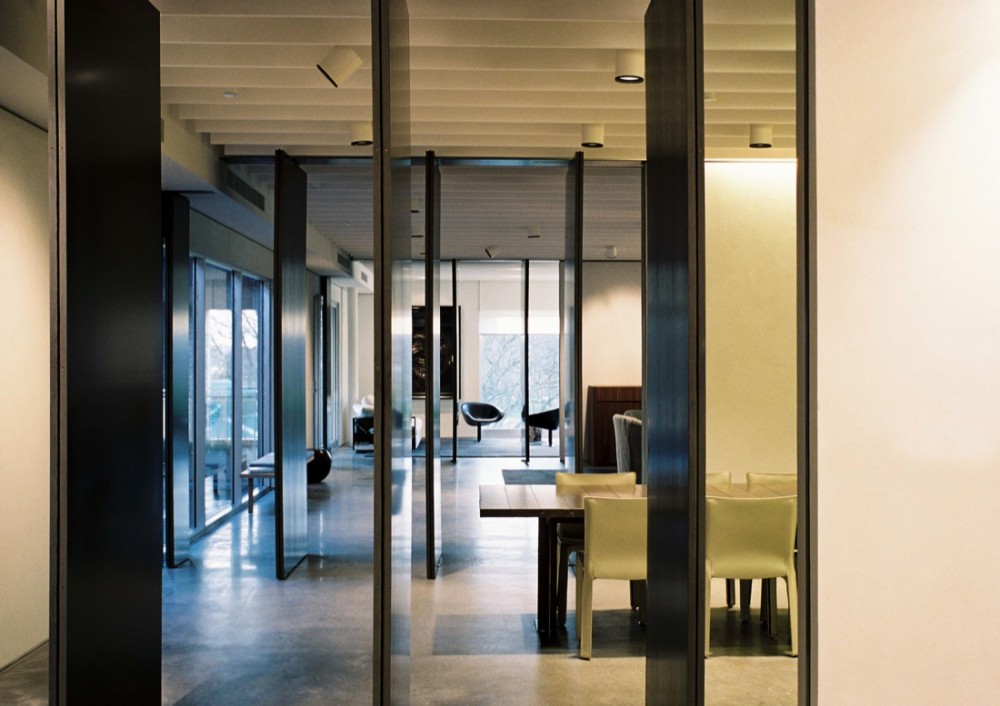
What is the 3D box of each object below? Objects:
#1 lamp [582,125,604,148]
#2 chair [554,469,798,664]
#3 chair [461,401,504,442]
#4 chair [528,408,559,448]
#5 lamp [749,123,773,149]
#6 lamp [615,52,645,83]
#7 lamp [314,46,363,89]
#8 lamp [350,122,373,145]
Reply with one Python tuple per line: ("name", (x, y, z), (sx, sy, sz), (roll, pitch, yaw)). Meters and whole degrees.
("lamp", (0.642, -1.498, 6.467), (0.147, 0.133, 0.169), (0, 3, -1))
("chair", (0.815, 0.884, 4.415), (1.166, 0.963, 0.980), (0, 0, 4))
("chair", (-0.240, 1.068, 14.221), (0.610, 0.632, 0.546), (3, -8, -29))
("chair", (0.630, 1.056, 13.271), (0.458, 0.537, 0.489), (0, -6, 2))
("lamp", (1.037, -0.851, 3.745), (0.084, 0.100, 0.088), (-1, -3, 26))
("lamp", (0.741, -1.626, 5.406), (0.163, 0.131, 0.171), (3, -9, -3))
("lamp", (-0.889, -1.625, 5.272), (0.222, 0.202, 0.156), (1, 3, 24))
("lamp", (-0.944, -1.493, 6.458), (0.135, 0.142, 0.338), (-1, 3, -10))
